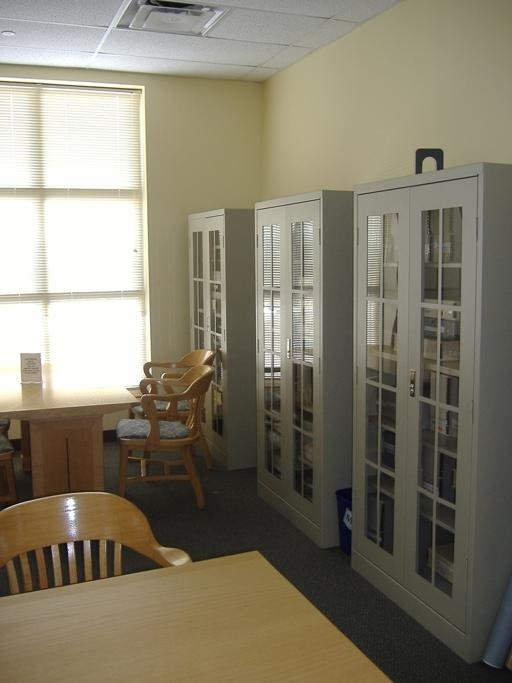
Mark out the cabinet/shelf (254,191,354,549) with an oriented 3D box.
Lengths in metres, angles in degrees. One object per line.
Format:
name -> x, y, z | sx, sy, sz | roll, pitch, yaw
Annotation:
cabinet/shelf -> 0.353, 0.117, 3.196 | 0.404, 1.995, 0.925 | -4, 6, -25

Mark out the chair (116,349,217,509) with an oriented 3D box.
chair -> -0.653, 0.599, 3.822 | 0.783, 1.285, 0.847 | 1, 5, -13
